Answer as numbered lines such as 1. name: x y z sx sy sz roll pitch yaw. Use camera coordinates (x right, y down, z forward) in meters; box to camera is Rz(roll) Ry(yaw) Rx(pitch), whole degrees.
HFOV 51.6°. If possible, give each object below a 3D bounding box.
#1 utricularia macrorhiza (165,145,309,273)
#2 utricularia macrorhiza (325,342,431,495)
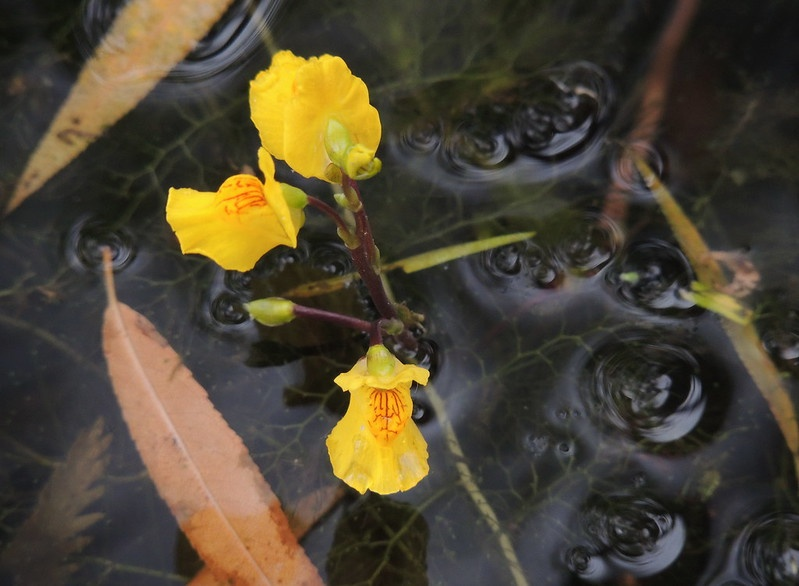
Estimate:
1. utricularia macrorhiza: -0.408 -0.221 2.028 0.293 0.187 0.332 -7 47 -23
2. utricularia macrorhiza: -0.052 0.314 2.045 0.222 0.149 0.378 12 52 -7
